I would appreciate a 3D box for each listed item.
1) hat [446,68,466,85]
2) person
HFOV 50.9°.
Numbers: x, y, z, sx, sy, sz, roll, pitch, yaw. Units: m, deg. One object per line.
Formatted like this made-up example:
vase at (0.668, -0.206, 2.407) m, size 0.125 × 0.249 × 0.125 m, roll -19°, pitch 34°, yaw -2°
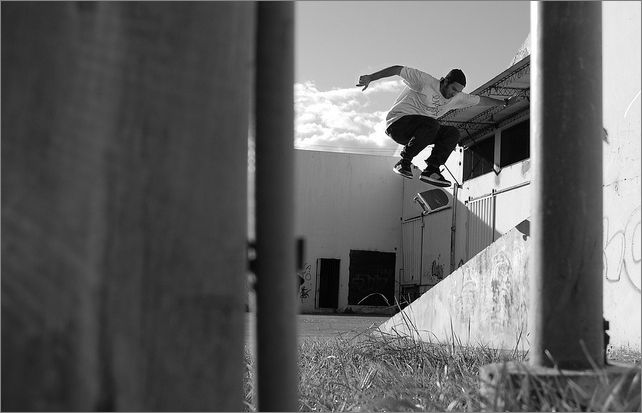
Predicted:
hat at (1.319, -1.252, 6.517) m, size 0.132 × 0.157 × 0.172 m, roll -6°, pitch 20°, yaw -39°
person at (1.176, -0.829, 7.015) m, size 1.631 × 1.282 × 0.705 m, roll 14°, pitch -9°, yaw -10°
